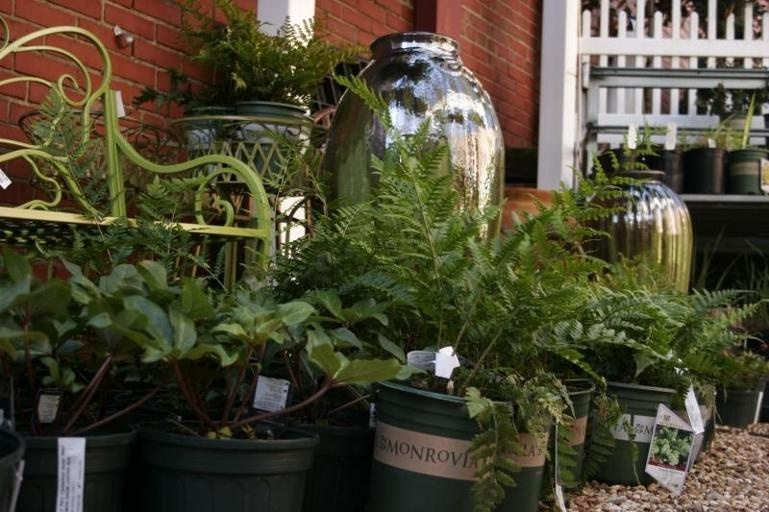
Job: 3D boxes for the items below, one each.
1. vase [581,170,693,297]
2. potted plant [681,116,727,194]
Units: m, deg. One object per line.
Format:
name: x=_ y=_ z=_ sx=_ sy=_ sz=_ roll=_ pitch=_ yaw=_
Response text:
vase: x=0.993 y=-0.112 z=2.964 sx=0.294 sy=0.484 sz=0.326 roll=-7 pitch=19 yaw=9
potted plant: x=1.510 y=-0.467 z=3.737 sx=0.247 sy=0.373 sz=0.278 roll=1 pitch=-6 yaw=12
